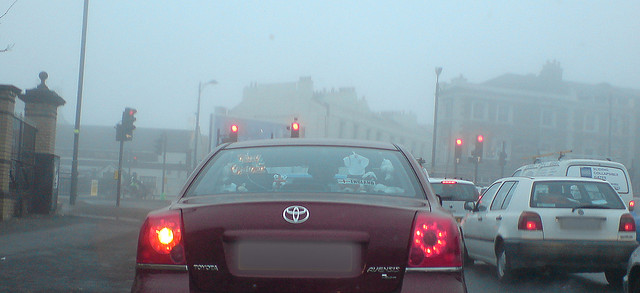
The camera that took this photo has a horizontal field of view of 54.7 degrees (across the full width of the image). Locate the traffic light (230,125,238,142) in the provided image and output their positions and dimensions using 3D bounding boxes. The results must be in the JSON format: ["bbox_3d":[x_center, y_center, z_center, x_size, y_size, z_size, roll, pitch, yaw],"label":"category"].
[{"bbox_3d":[-5.920,-0.922,42.531,0.336,0.929,1.062,-8,3,-21],"label":"traffic light"}]

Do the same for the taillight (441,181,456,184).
[{"bbox_3d":[6.163,1.695,29.493,0.556,0.139,0.112,-5,3,10],"label":"taillight"}]
